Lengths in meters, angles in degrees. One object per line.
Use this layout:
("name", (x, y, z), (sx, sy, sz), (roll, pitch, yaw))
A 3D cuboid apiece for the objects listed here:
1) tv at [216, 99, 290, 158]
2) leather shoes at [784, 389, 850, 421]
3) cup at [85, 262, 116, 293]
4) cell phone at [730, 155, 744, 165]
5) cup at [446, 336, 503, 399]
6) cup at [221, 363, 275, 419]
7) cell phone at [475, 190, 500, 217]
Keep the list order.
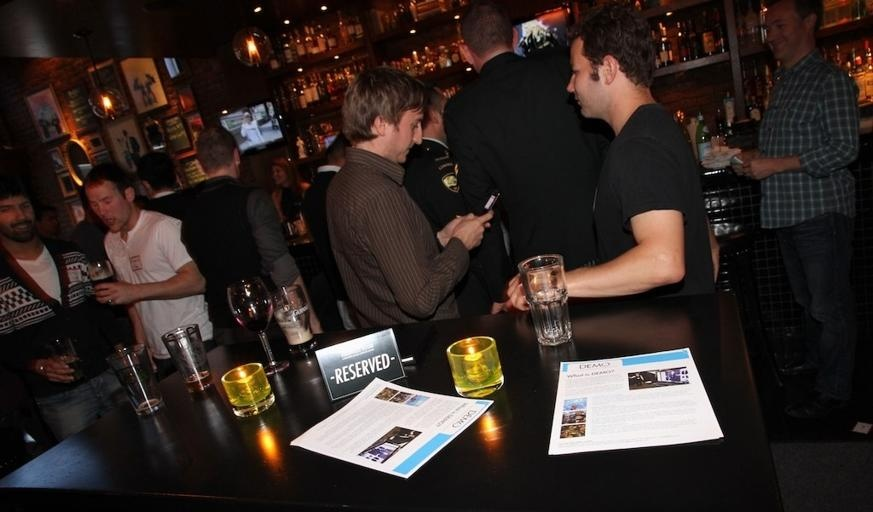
("tv", (-2.342, -1.618, 7.508), (0.089, 0.646, 0.980), (10, 27, 27))
("leather shoes", (2.714, 1.060, 4.191), (0.471, 0.181, 0.158), (2, 27, 18))
("cup", (-2.195, 0.122, 3.905), (0.139, 0.186, 0.113), (-21, 18, -28))
("cell phone", (2.235, -0.721, 4.447), (0.069, 0.059, 0.080), (0, 0, 9))
("cup", (0.181, 0.514, 2.862), (0.299, 0.251, 0.266), (-5, 1, 4))
("cup", (-0.941, 0.671, 2.963), (0.236, 0.210, 0.236), (-13, -2, 0))
("cell phone", (0.331, -0.340, 3.921), (0.039, 0.156, 0.166), (30, 15, 22))
